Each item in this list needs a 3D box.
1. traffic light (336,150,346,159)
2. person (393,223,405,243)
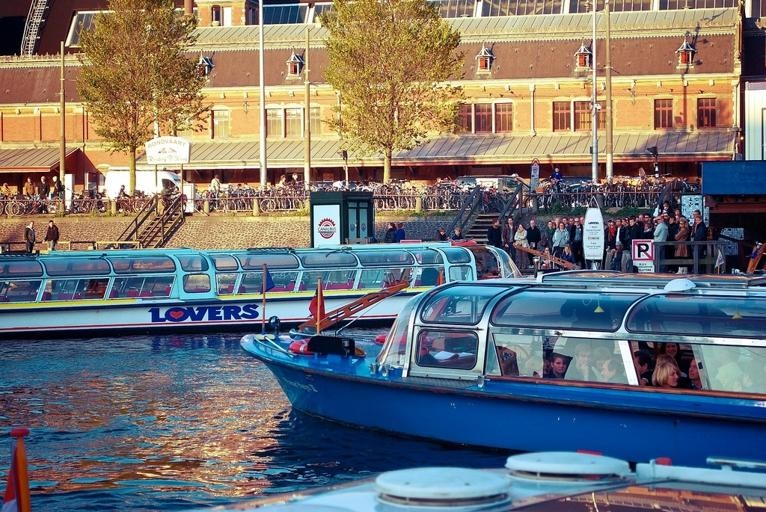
[{"bbox_3d":[-2.223,-5.315,63.555,0.392,0.206,0.917,0,12,-3],"label":"traffic light"},{"bbox_3d":[0.535,-0.888,46.047,0.412,0.665,0.730,4,3,12],"label":"person"}]
